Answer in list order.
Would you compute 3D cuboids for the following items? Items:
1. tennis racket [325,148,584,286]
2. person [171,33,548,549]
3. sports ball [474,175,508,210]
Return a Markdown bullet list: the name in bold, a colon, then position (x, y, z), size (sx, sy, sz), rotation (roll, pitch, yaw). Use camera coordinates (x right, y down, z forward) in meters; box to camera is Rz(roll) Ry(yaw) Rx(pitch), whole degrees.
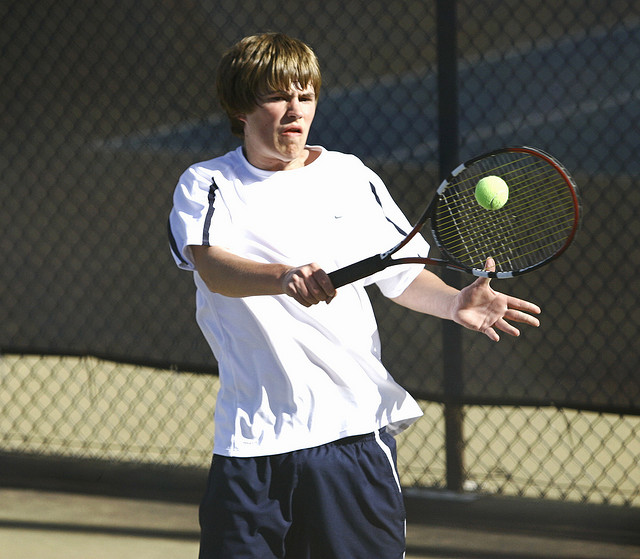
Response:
- **tennis racket**: position (0.370, -0.121, 3.919), size (1.396, 0.526, 0.067), rotation (-19, 30, 44)
- **person**: position (0.010, 0.032, 3.131), size (1.061, 1.673, 0.579), rotation (-11, 14, -7)
- **sports ball**: position (0.580, -0.294, 3.275), size (0.120, 0.121, 0.113), rotation (-4, -8, -1)
